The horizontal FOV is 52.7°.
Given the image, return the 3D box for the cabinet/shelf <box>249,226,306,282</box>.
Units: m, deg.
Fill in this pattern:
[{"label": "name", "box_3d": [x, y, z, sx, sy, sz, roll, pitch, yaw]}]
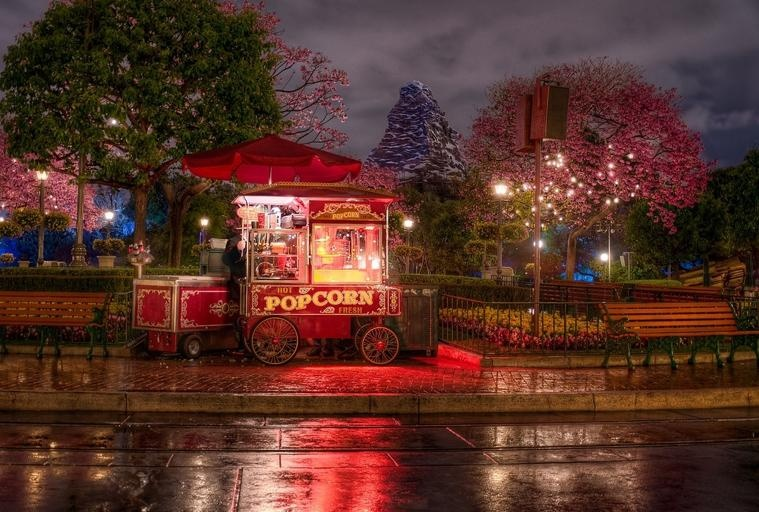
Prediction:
[{"label": "cabinet/shelf", "box_3d": [-2.404, 0.076, 18.373, 1.546, 1.480, 1.148, 0, -3, -10]}]
